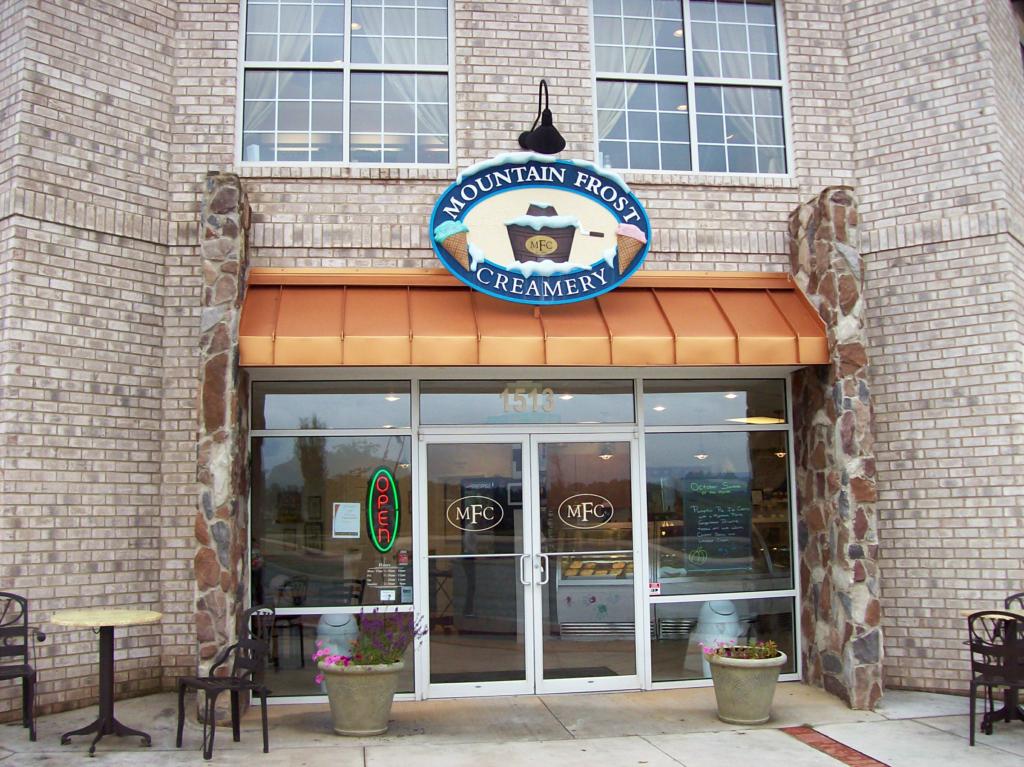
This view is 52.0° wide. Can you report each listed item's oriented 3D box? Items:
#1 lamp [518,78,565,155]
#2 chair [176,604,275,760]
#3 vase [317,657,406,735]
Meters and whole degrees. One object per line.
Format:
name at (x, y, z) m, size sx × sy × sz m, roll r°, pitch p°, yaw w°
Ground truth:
lamp at (0.375, -3.498, 13.641) m, size 0.560 × 1.265 × 0.993 m, roll -3°, pitch -7°, yaw 3°
chair at (-3.185, 3.254, 11.786) m, size 1.004 × 1.501 × 1.560 m, roll 0°, pitch -7°, yaw -14°
vase at (-1.689, 3.511, 11.905) m, size 0.829 × 0.607 × 0.832 m, roll -1°, pitch -7°, yaw 24°
